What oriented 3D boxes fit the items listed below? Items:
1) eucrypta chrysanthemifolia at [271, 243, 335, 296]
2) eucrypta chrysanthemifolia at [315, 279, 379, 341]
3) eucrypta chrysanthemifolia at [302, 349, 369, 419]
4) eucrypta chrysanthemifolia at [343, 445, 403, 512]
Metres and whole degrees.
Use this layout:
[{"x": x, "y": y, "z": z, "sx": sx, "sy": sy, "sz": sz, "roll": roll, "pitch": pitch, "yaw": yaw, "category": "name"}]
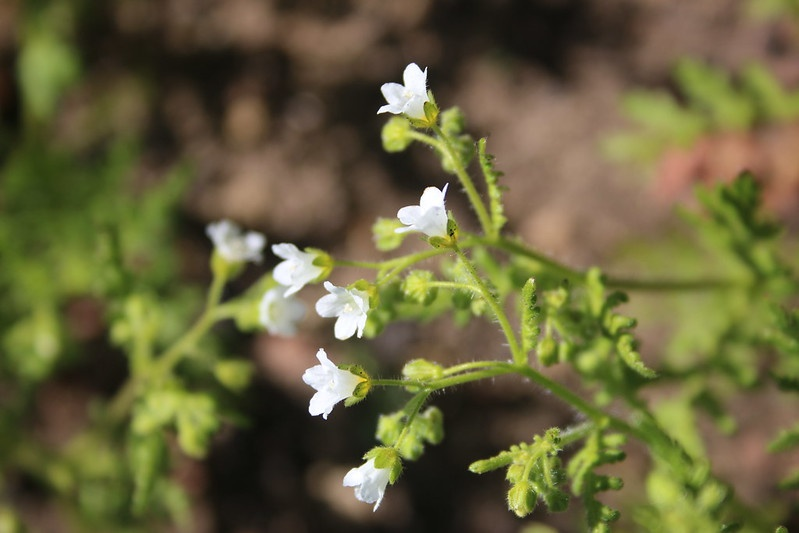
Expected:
[{"x": -0.580, "y": 0.001, "z": 5.451, "sx": 0.361, "sy": 0.317, "sz": 0.216, "roll": -5, "pitch": 3, "yaw": -12, "category": "eucrypta chrysanthemifolia"}, {"x": -0.295, "y": 0.238, "z": 5.176, "sx": 0.335, "sy": 0.346, "sz": 0.158, "roll": -6, "pitch": 4, "yaw": -33, "category": "eucrypta chrysanthemifolia"}, {"x": -0.347, "y": 0.663, "z": 5.153, "sx": 0.345, "sy": 0.382, "sz": 0.142, "roll": 13, "pitch": 15, "yaw": 3, "category": "eucrypta chrysanthemifolia"}, {"x": -0.147, "y": 1.184, "z": 5.137, "sx": 0.275, "sy": 0.392, "sz": 0.163, "roll": 35, "pitch": 7, "yaw": -5, "category": "eucrypta chrysanthemifolia"}]
